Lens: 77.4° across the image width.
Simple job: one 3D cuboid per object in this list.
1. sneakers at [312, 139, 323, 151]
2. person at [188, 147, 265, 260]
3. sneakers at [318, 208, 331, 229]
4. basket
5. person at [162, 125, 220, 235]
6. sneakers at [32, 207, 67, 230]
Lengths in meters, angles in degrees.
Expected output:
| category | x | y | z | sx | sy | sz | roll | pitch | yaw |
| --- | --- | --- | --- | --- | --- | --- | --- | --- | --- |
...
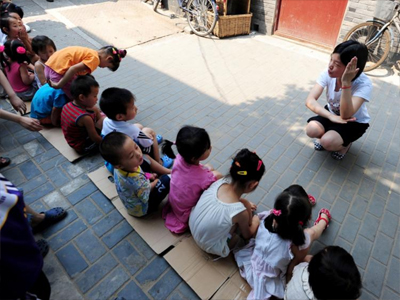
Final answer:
| category | x | y | z | sx | sy | sz | roll | pitch | yaw |
| --- | --- | --- | --- | --- | --- | --- | --- | --- | --- |
| sneakers | 1.474 | -0.064 | 3.109 | 0.070 | 0.058 | 0.169 | 22 | 15 | -4 |
| person | 0.219 | 0.480 | 2.109 | 0.520 | 0.739 | 0.461 | -26 | 55 | -40 |
| sneakers | 1.208 | 0.619 | 2.392 | 0.084 | 0.071 | 0.246 | 22 | 86 | 27 |
| basket | 0.780 | -2.830 | 5.762 | 0.688 | 0.432 | 0.690 | -13 | 35 | -19 |
| person | -0.094 | 0.297 | 2.254 | 0.384 | 0.814 | 0.721 | 30 | 48 | 22 |
| sneakers | -1.386 | 0.603 | 2.316 | 0.278 | 0.089 | 0.102 | -28 | 71 | -42 |
